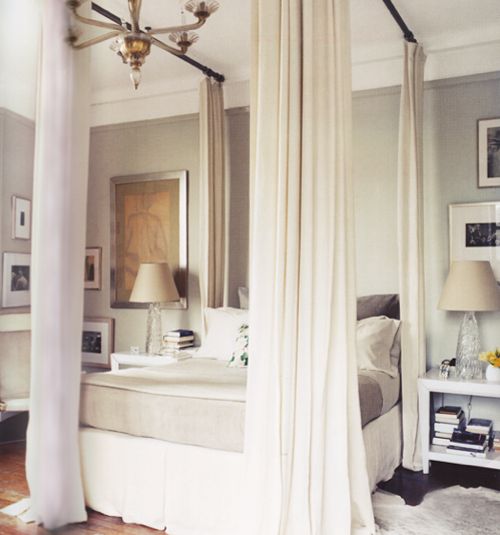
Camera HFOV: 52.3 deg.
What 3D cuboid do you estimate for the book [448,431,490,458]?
[{"bbox_3d":[1.293,1.030,3.005,0.137,0.041,0.150,4,19,23],"label":"book"}]

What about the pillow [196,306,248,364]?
[{"bbox_3d":[-0.222,0.473,3.732,0.304,0.376,0.098,-7,-25,45],"label":"pillow"}]

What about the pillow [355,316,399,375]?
[{"bbox_3d":[0.798,0.494,3.217,0.294,0.420,0.113,2,-12,7],"label":"pillow"}]

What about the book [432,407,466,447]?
[{"bbox_3d":[1.258,0.920,3.206,0.150,0.225,0.279,-1,-2,28],"label":"book"}]
